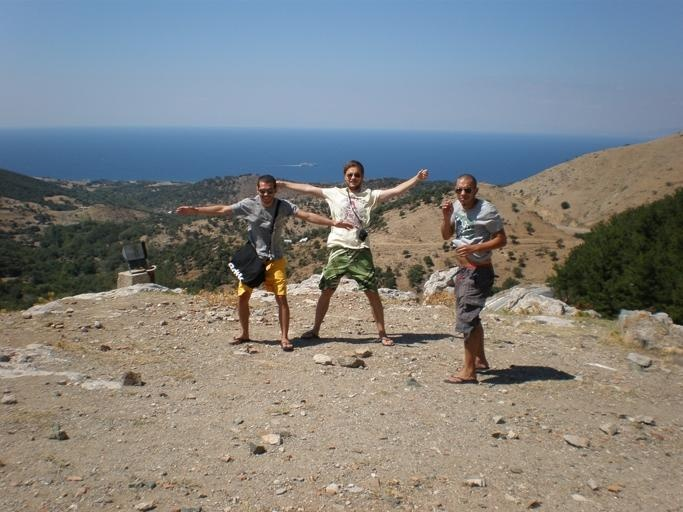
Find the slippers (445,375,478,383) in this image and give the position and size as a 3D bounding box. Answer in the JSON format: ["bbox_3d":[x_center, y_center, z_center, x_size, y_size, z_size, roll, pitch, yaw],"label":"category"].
[{"bbox_3d":[1.587,1.619,6.120,0.345,0.061,0.136,4,-7,-3],"label":"slippers"}]

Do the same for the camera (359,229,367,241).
[{"bbox_3d":[0.308,-0.310,7.045,0.118,0.173,0.048,-3,13,-2],"label":"camera"}]

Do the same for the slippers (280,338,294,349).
[{"bbox_3d":[-0.869,1.365,7.115,0.111,0.207,0.252,1,-18,-15],"label":"slippers"}]

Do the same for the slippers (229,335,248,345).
[{"bbox_3d":[-1.630,1.329,7.348,0.263,0.071,0.124,2,-1,-1],"label":"slippers"}]

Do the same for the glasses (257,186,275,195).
[{"bbox_3d":[-1.111,-0.950,6.878,0.248,0.108,0.178,-3,11,-8],"label":"glasses"}]

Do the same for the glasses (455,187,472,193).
[{"bbox_3d":[1.537,-0.808,5.833,0.124,0.031,0.116,1,0,24],"label":"glasses"}]

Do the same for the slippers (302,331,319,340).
[{"bbox_3d":[-0.533,1.303,7.664,0.296,0.085,0.113,4,-2,-38],"label":"slippers"}]

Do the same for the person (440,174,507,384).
[{"bbox_3d":[1.706,0.310,6.065,0.774,2.694,0.678,-1,13,10],"label":"person"}]
